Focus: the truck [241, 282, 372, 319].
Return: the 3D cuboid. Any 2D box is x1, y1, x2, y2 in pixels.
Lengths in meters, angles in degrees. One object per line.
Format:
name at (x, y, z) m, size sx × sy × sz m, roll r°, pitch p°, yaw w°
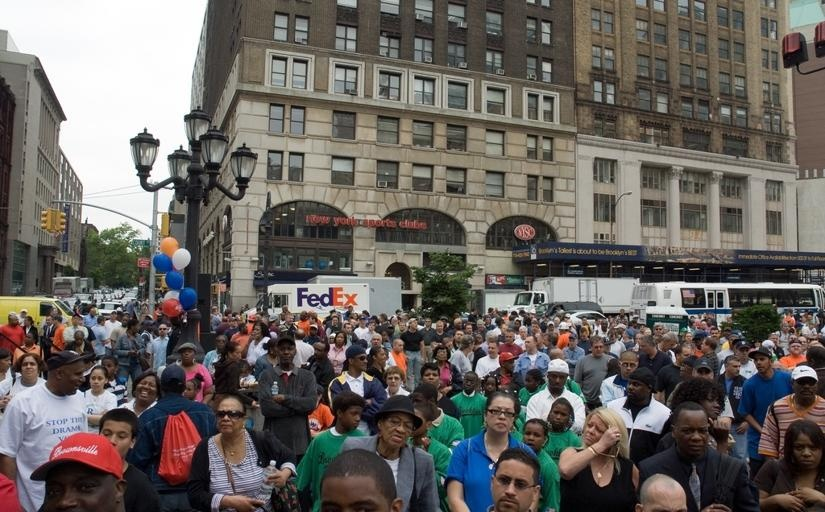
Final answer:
truck at (-7.643, 4.080, 82.042) m, size 9.003 × 3.637 × 5.445 m, roll 1°, pitch -1°, yaw -25°
